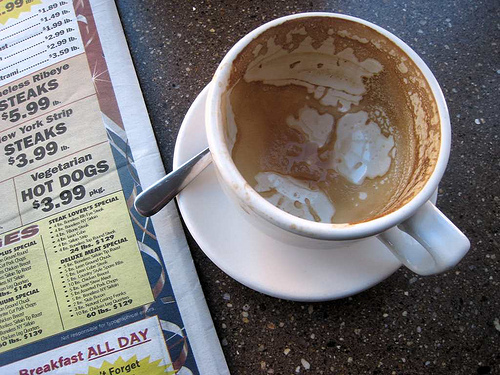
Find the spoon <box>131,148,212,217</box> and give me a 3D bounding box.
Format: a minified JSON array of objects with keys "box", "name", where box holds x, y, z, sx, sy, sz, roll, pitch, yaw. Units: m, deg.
[{"box":[-0.105,-0.003,0.696,0.139,0.018,0.020,-39,91,1],"name":"spoon"}]
